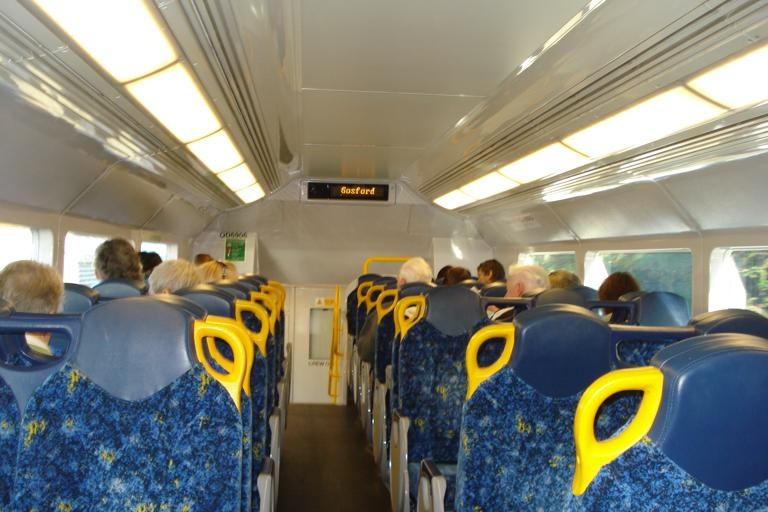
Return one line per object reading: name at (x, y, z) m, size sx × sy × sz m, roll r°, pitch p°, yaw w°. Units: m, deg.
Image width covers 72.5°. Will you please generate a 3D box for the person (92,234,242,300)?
person at (-2.062, 0.112, 4.487) m, size 0.798 × 0.358 × 0.811 m, roll 10°, pitch 2°, yaw -23°
